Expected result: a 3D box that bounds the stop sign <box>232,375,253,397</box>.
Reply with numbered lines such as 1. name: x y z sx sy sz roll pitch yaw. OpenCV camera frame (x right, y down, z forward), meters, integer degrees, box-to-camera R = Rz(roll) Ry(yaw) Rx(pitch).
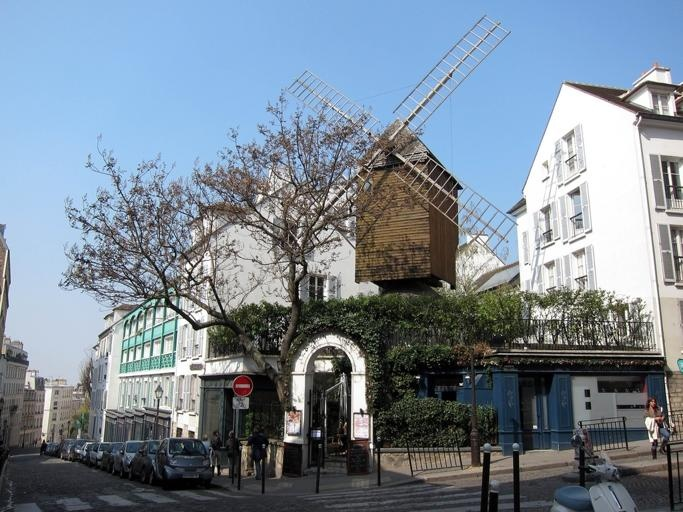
1. stop sign: -3.531 4.625 19.113 0.591 0.784 1.102 1 -18 -9
